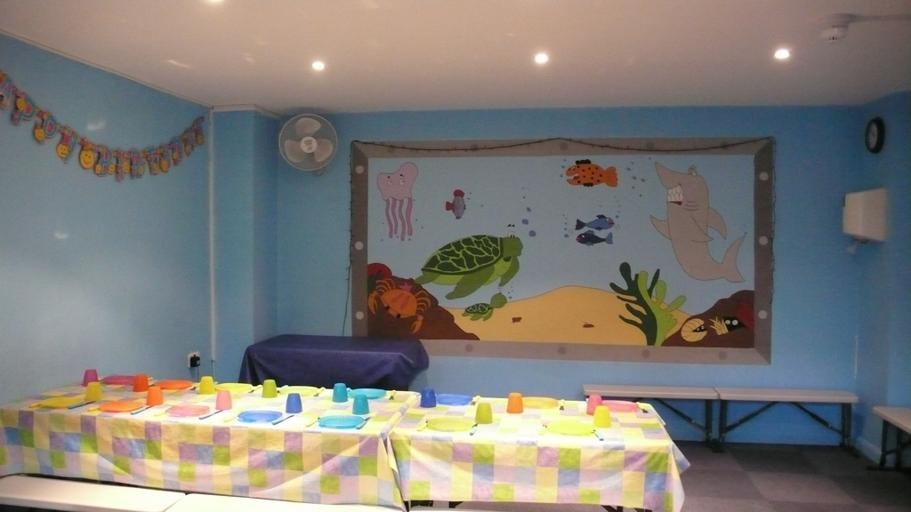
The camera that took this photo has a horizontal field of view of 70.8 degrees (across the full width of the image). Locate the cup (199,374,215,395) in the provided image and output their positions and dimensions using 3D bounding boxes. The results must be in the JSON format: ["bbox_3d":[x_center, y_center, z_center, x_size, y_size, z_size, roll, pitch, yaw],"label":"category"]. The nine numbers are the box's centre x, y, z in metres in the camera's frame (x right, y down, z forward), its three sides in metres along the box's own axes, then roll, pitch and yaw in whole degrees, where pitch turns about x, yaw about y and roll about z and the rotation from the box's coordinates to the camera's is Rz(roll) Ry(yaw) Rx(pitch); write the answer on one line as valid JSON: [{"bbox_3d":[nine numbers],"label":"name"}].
[{"bbox_3d":[-2.400,1.246,6.263,0.181,0.165,0.172,1,2,0],"label":"cup"}]

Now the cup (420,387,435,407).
[{"bbox_3d":[-0.251,1.313,5.983,0.177,0.146,0.157,-1,3,-2],"label":"cup"}]

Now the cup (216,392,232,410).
[{"bbox_3d":[-2.115,1.315,5.832,0.169,0.157,0.159,1,3,0],"label":"cup"}]

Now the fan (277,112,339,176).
[{"bbox_3d":[-1.679,-1.344,7.571,0.766,0.700,0.240,27,23,12],"label":"fan"}]

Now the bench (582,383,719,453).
[{"bbox_3d":[2.324,1.900,7.754,1.705,0.555,0.489,-6,-18,39],"label":"bench"}]

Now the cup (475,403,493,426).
[{"bbox_3d":[0.248,1.387,5.643,0.178,0.145,0.168,2,-3,0],"label":"cup"}]

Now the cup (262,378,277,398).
[{"bbox_3d":[-1.771,1.263,6.170,0.175,0.144,0.155,0,1,-10],"label":"cup"}]

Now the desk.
[{"bbox_3d":[-1.388,1.207,7.516,1.581,0.338,0.857,1,4,8],"label":"desk"}]

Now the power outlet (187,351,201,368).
[{"bbox_3d":[-3.088,1.205,7.533,0.048,0.206,0.237,-4,-3,31],"label":"power outlet"}]

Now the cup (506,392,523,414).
[{"bbox_3d":[0.541,1.350,5.915,0.185,0.152,0.171,3,-3,0],"label":"cup"}]

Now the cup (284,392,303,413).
[{"bbox_3d":[-1.453,1.313,5.789,0.181,0.145,0.162,-1,2,-9],"label":"cup"}]
